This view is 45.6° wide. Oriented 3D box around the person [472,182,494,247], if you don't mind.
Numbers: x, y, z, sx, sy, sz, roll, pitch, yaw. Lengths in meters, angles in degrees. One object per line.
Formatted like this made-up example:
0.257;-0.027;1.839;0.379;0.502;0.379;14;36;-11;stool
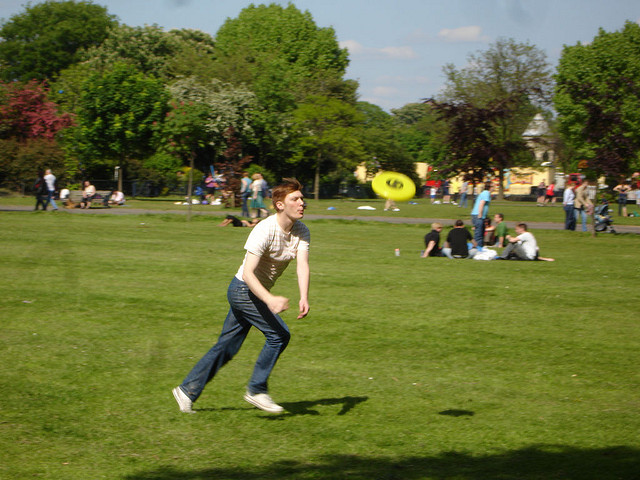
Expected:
4.299;-0.692;20.584;0.400;1.752;0.845;9;4;11;person

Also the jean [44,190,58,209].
-10.867;-1.656;30.777;0.394;0.760;1.815;5;2;-20;jean

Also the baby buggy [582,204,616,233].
9.729;-0.740;26.156;0.613;0.656;1.115;8;5;34;baby buggy

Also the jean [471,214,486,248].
4.208;-0.245;20.474;0.382;0.882;0.520;8;4;9;jean

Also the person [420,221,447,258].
2.895;0.011;19.118;0.659;0.869;0.736;6;4;7;person

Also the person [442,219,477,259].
3.472;0.002;19.056;0.741;0.939;0.630;6;4;6;person

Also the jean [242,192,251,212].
-2.883;-1.465;29.328;0.226;0.766;0.544;8;4;5;jean

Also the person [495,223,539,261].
5.095;0.056;19.031;0.764;0.723;1.291;-11;5;-40;person

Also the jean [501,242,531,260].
4.849;0.279;18.837;0.262;0.427;0.682;3;3;-41;jean

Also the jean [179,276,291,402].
-0.919;1.131;8.427;1.116;1.457;0.360;6;4;-6;jean

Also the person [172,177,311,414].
-0.754;0.647;8.398;1.259;2.696;1.152;7;4;0;person
